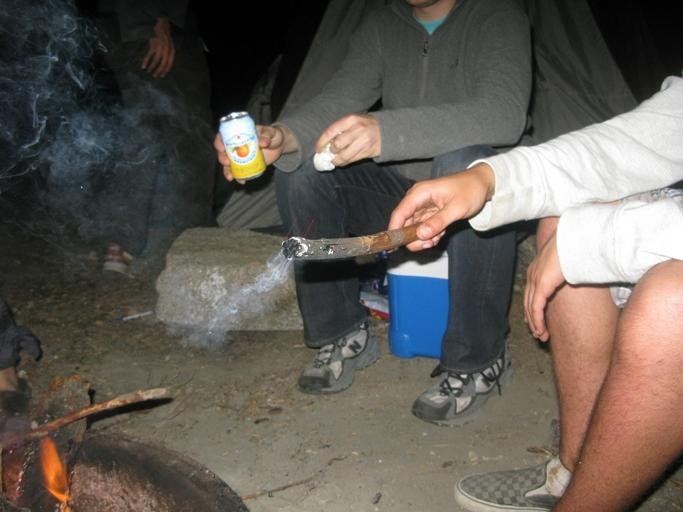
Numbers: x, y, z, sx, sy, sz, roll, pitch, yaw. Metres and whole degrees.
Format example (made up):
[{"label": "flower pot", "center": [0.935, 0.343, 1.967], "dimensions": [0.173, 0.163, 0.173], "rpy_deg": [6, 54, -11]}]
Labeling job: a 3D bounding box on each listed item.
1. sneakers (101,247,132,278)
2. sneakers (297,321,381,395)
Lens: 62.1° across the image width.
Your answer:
[{"label": "sneakers", "center": [-1.779, 0.052, 4.611], "dimensions": [0.167, 0.195, 0.258], "rpy_deg": [8, -14, 11]}, {"label": "sneakers", "center": [0.025, 0.584, 3.345], "dimensions": [0.230, 0.265, 0.583], "rpy_deg": [21, 33, 30]}]
